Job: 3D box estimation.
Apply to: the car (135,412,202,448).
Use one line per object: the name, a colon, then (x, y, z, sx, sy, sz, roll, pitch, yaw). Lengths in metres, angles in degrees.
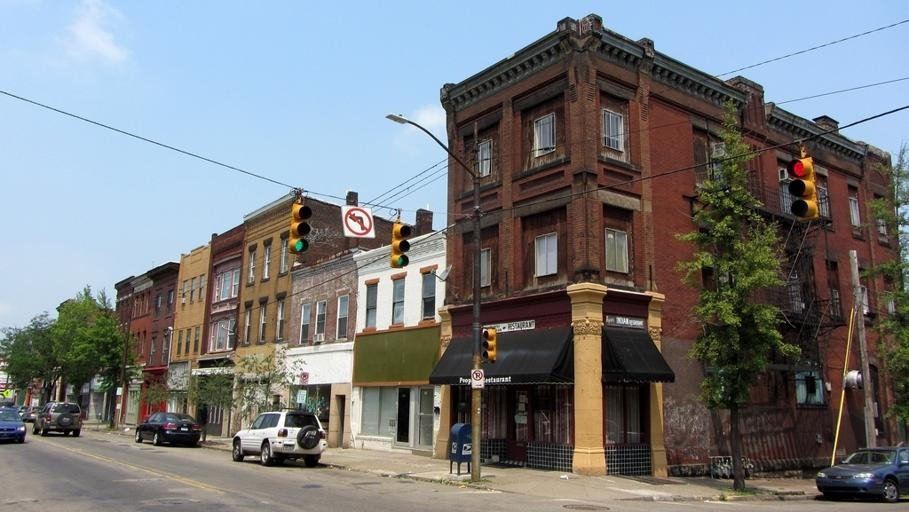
car: (-19.891, 11.929, 51.826, 4.248, 2.446, 2.332, -14, -26, 33)

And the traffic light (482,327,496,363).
traffic light: (1.706, 4.329, 37.013, 0.583, 1.772, 1.363, -2, -22, 7)

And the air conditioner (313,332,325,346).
air conditioner: (-9.488, 5.910, 53.180, 1.229, 0.963, 0.677, -12, -21, 38)
